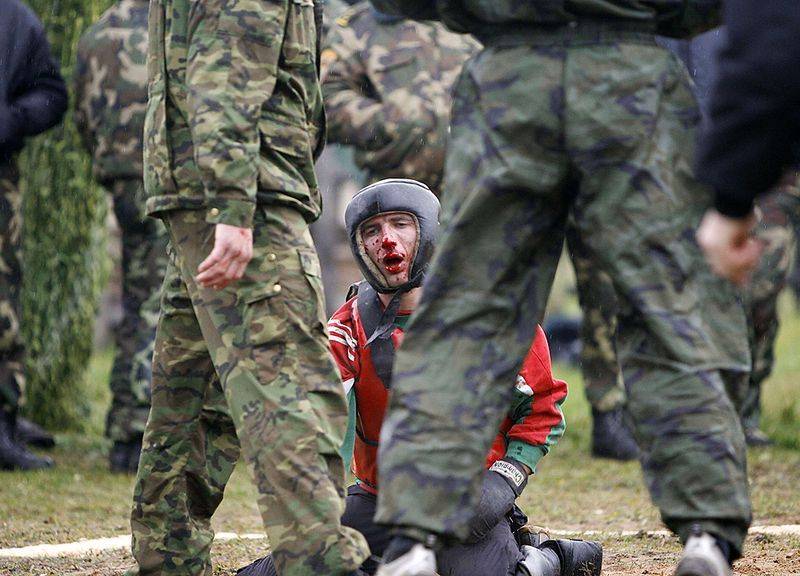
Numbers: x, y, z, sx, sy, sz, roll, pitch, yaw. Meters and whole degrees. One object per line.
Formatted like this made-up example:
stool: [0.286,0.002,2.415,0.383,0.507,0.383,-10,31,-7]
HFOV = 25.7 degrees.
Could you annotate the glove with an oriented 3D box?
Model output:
glove: [0.326,0.768,6.539,0.190,0.327,0.138,24,-16,48]

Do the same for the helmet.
helmet: [-0.036,-0.201,6.867,0.353,0.429,0.450,-8,-12,3]
